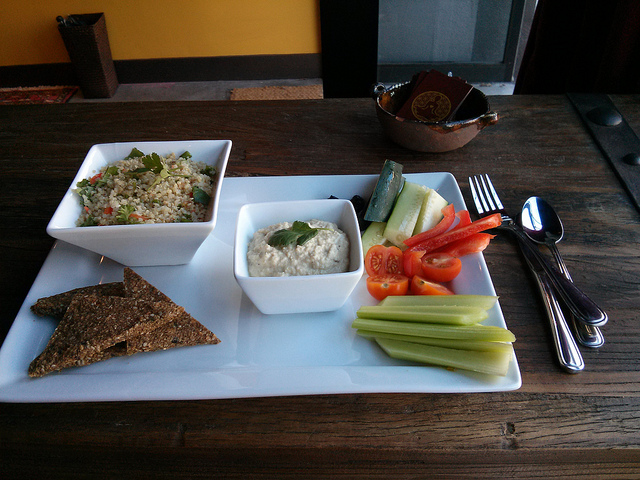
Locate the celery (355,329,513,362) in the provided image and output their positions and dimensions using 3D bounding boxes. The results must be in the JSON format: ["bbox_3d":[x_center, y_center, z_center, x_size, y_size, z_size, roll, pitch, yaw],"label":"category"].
[{"bbox_3d":[0.280,0.235,1.169,0.380,0.055,0.043,4,81,1],"label":"celery"}]

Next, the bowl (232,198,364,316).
[{"bbox_3d":[-0.051,0.040,1.321,0.416,0.142,0.339,13,45,6],"label":"bowl"}]

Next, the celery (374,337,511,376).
[{"bbox_3d":[0.283,0.272,1.141,0.308,0.062,0.047,10,49,11],"label":"celery"}]

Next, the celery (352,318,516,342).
[{"bbox_3d":[0.279,0.218,1.162,0.234,0.048,0.031,5,46,11],"label":"celery"}]

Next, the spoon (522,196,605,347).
[{"bbox_3d":[0.678,0.079,1.347,0.098,0.053,0.449,-10,45,-1],"label":"spoon"}]

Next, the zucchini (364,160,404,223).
[{"bbox_3d":[0.199,-0.138,1.446,0.084,0.198,0.047,2,4,-30],"label":"zucchini"}]
